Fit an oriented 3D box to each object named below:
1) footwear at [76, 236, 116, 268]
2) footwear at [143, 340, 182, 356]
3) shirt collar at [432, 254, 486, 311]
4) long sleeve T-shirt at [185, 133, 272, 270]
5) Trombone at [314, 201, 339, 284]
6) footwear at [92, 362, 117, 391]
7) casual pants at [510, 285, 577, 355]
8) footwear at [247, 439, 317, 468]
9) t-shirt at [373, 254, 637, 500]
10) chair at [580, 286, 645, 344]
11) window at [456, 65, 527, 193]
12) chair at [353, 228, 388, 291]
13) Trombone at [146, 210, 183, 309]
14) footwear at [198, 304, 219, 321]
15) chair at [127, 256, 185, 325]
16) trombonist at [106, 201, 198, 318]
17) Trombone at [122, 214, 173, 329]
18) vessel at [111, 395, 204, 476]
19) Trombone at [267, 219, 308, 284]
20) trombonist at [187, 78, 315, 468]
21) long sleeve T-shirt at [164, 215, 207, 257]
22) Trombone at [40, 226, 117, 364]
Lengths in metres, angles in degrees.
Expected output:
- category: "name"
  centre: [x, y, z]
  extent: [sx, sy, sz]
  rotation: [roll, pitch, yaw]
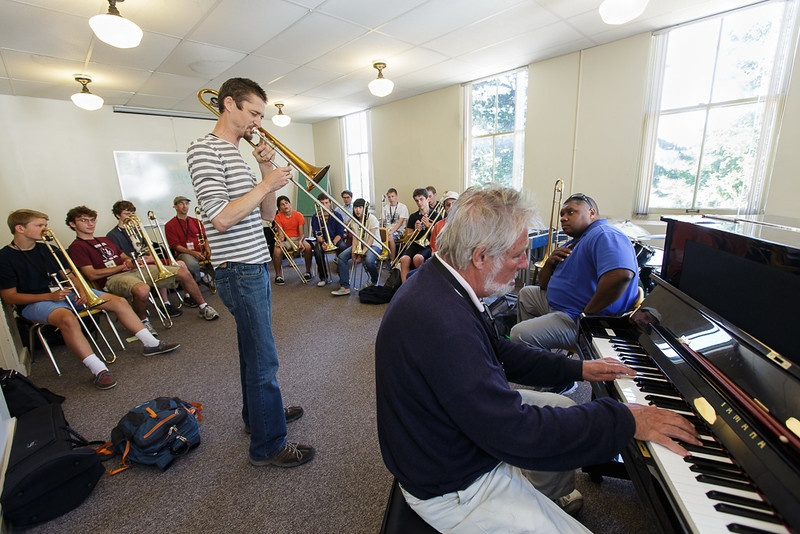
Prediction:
- category: "footwear"
  centre: [-3.216, -0.151, 4.996]
  extent: [0.142, 0.251, 0.266]
  rotation: [-28, 8, 10]
- category: "footwear"
  centre: [-2.298, 0.770, 4.656]
  extent: [0.366, 0.138, 0.133]
  rotation: [-2, 4, -24]
- category: "shirt collar"
  centre: [0.376, 0.126, 2.761]
  extent: [0.126, 0.276, 0.327]
  rotation: [-34, -34, 6]
- category: "long sleeve T-shirt"
  centre: [-1.141, -0.441, 3.165]
  extent: [0.410, 0.885, 0.281]
  rotation: [-11, 15, -23]
- category: "Trombone"
  centre: [-1.037, -0.355, 6.614]
  extent: [0.309, 1.198, 0.459]
  rotation: [2, -15, -37]
- category: "footwear"
  centre: [-2.610, 0.971, 4.183]
  extent: [0.216, 0.178, 0.477]
  rotation: [-1, 1, -35]
- category: "casual pants"
  centre: [1.130, 0.424, 3.729]
  extent: [0.527, 0.167, 0.422]
  rotation: [-10, 23, -17]
- category: "footwear"
  centre: [-0.847, 1.366, 3.424]
  extent: [0.445, 0.204, 0.185]
  rotation: [-2, 7, -8]
- category: "t-shirt"
  centre: [0.607, 0.691, 3.036]
  extent: [1.505, 1.328, 1.336]
  rotation: [0, 12, -10]
- category: "chair"
  centre: [1.481, 0.310, 3.383]
  extent: [0.359, 0.478, 0.341]
  rotation: [0, 7, 10]
- category: "window"
  centre: [1.369, -1.978, 6.883]
  extent: [1.043, 1.537, 0.193]
  rotation: [7, 18, 41]
- category: "chair"
  centre: [-0.429, -0.076, 6.357]
  extent: [0.462, 0.706, 0.494]
  rotation: [-6, 0, 29]
- category: "Trombone"
  centre: [-2.875, -0.053, 5.813]
  extent: [0.284, 1.396, 0.400]
  rotation: [-14, -13, -31]
- category: "footwear"
  centre: [-2.197, 0.513, 5.435]
  extent: [0.275, 0.134, 0.131]
  rotation: [8, 15, 44]
- category: "chair"
  centre: [-2.735, 0.263, 5.287]
  extent: [0.208, 0.705, 0.312]
  rotation: [-16, -10, -35]
- category: "trombonist"
  centre: [-2.928, -0.056, 5.609]
  extent: [0.677, 1.472, 0.494]
  rotation: [-28, -3, 31]
- category: "Trombone"
  centre: [-2.868, 0.082, 5.377]
  extent: [0.474, 1.312, 0.387]
  rotation: [-18, -2, 24]
- category: "vessel"
  centre: [-1.827, 1.231, 3.519]
  extent: [0.486, 0.198, 0.571]
  rotation: [16, 30, 25]
- category: "Trombone"
  centre: [-1.697, -0.266, 6.951]
  extent: [0.400, 1.228, 0.633]
  rotation: [-4, -31, -27]
- category: "trombonist"
  centre: [-1.066, 0.086, 3.414]
  extent: [0.708, 2.577, 0.780]
  rotation: [-4, 9, -17]
- category: "long sleeve T-shirt"
  centre: [-2.699, -0.372, 5.969]
  extent: [0.298, 0.553, 0.533]
  rotation: [0, 5, 44]
- category: "Trombone"
  centre: [-3.132, 0.305, 4.613]
  extent: [0.296, 1.351, 0.305]
  rotation: [-20, -3, 16]
